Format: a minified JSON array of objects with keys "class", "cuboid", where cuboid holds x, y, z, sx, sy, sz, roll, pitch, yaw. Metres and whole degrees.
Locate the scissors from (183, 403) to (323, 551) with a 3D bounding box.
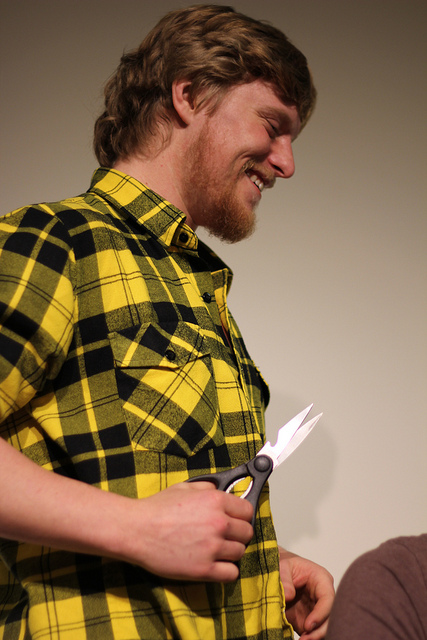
[{"class":"scissors","cuboid":[0.066,0.204,0.800,0.130,0.031,0.308,5,-40,-17]}]
